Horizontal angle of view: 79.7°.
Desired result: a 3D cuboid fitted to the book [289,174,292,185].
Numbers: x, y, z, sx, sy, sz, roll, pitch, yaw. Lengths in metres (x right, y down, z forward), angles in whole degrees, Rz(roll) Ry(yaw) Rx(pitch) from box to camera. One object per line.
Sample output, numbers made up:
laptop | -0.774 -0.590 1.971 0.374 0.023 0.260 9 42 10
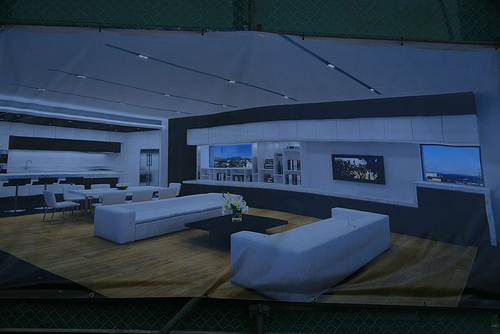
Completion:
book | 1.156 0.350 8.566 0.066 0.290 0.113 -1 4 -18

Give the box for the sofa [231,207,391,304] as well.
sofa | 1.182 1.302 4.782 2.979 0.763 1.469 -4 5 -43

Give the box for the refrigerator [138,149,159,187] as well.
refrigerator | -4.097 0.013 12.077 1.256 1.464 0.358 3 4 39

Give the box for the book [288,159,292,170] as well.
book | 1.144 -0.070 8.630 0.070 0.296 0.167 -3 4 -37

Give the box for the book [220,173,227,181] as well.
book | -0.957 0.340 10.474 0.232 0.275 0.303 1 -1 8

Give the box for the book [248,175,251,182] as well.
book | -0.019 0.361 9.662 0.087 0.198 0.130 -2 4 -22

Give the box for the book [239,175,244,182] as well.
book | -0.305 0.363 9.880 0.146 0.260 0.156 -2 -1 39

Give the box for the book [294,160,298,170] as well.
book | 1.295 -0.062 8.510 0.064 0.276 0.127 -3 4 -41

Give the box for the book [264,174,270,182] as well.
book | 0.524 0.333 9.341 0.091 0.237 0.269 0 0 -39

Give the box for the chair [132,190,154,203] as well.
chair | -2.726 0.709 7.549 0.330 0.411 0.374 2 2 -40

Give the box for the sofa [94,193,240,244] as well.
sofa | -1.793 1.111 7.344 1.008 0.612 3.441 2 2 37

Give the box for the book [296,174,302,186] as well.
book | 1.354 0.361 8.389 0.125 0.311 0.174 0 3 1

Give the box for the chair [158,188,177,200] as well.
chair | -2.201 0.714 7.955 0.291 0.405 0.310 2 -3 28

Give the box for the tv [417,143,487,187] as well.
tv | 3.881 -0.080 5.834 0.345 0.796 1.291 -1 4 -14

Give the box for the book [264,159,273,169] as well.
book | 0.591 -0.100 9.308 0.301 0.302 0.119 2 4 34
